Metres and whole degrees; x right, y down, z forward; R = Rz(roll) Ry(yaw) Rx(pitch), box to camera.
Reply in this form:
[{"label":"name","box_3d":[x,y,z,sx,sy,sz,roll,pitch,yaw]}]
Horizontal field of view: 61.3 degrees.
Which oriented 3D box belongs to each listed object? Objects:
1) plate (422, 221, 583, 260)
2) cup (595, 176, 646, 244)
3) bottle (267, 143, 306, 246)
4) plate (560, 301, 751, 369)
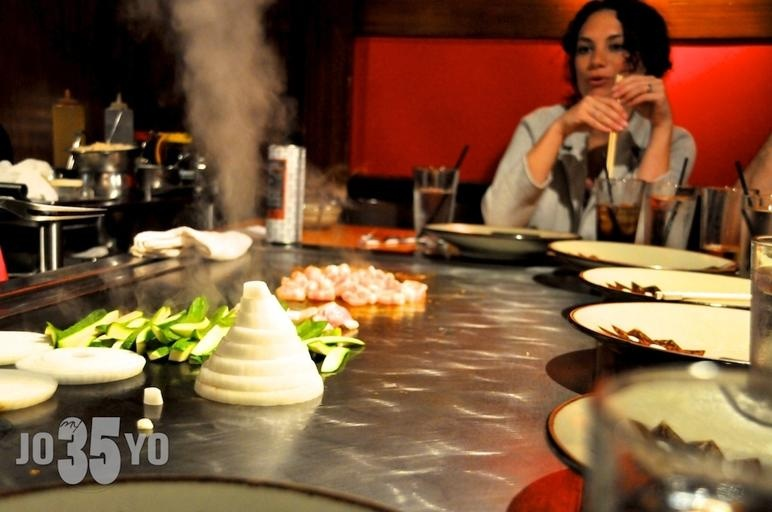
[{"label":"plate","box_3d":[0.329,-0.042,1.812,0.368,0.087,0.334,4,10,35]},{"label":"cup","box_3d":[0.644,-0.126,1.804,0.134,0.176,0.128,-2,9,0]},{"label":"bottle","box_3d":[-0.303,-0.186,1.950,0.128,0.283,0.238,-4,9,-10]},{"label":"plate","box_3d":[0.385,0.118,0.939,0.222,0.062,0.230,5,11,38]}]
